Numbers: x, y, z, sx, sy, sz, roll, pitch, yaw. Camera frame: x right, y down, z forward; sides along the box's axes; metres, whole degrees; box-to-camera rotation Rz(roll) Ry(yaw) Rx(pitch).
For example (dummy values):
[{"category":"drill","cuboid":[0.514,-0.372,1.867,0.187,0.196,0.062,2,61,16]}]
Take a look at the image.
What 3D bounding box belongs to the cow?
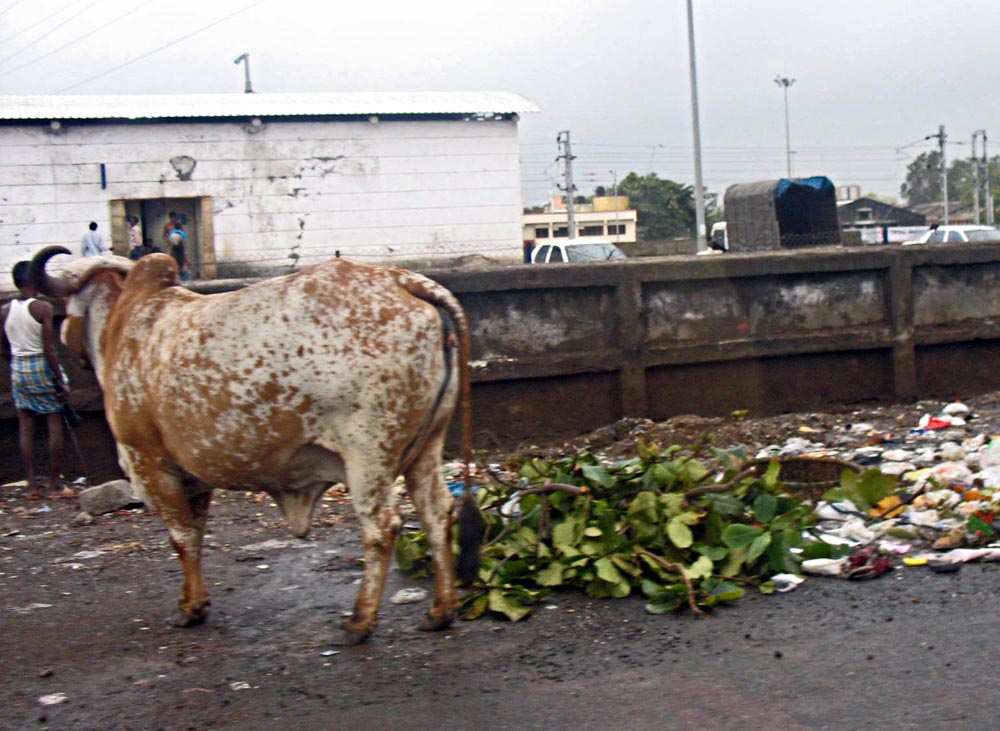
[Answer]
[{"category":"cow","cuboid":[-1.237,0.377,5.585,2.131,2.058,0.821,-2,7,27]}]
